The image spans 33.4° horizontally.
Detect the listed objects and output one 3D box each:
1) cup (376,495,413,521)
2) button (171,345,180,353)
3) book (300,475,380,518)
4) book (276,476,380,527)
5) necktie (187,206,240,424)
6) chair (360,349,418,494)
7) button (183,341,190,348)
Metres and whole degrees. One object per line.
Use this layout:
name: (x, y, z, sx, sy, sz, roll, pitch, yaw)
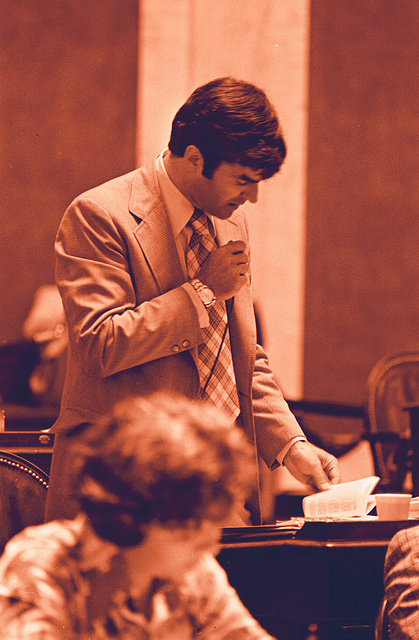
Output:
cup: (0.295, 0.302, 1.124, 0.048, 0.034, 0.047, 2, -11, 0)
button: (-0.060, 0.049, 1.214, 0.013, 0.012, 0.003, 5, 2, -14)
book: (0.229, 0.332, 1.244, 0.104, 0.041, 0.098, -20, 29, 30)
book: (0.221, 0.299, 1.212, 0.112, 0.046, 0.130, -4, -12, -29)
necktie: (-0.004, -0.011, 1.339, 0.080, 0.417, 0.165, -1, -1, 23)
chair: (0.658, 0.381, 2.580, 0.160, 0.537, 0.244, -1, -1, 35)
button: (-0.042, 0.042, 1.221, 0.011, 0.010, 0.002, 3, 2, -13)
